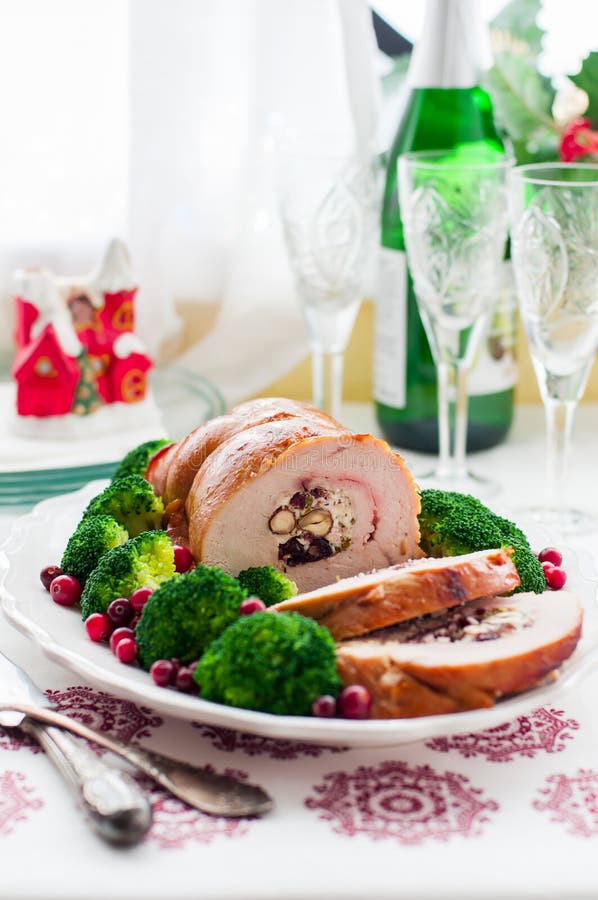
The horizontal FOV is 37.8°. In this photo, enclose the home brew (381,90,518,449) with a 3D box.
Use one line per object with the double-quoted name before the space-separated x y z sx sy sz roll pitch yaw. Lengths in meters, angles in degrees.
"home brew" 0.170 -0.227 1.158 0.208 0.463 0.083 -7 20 -23
